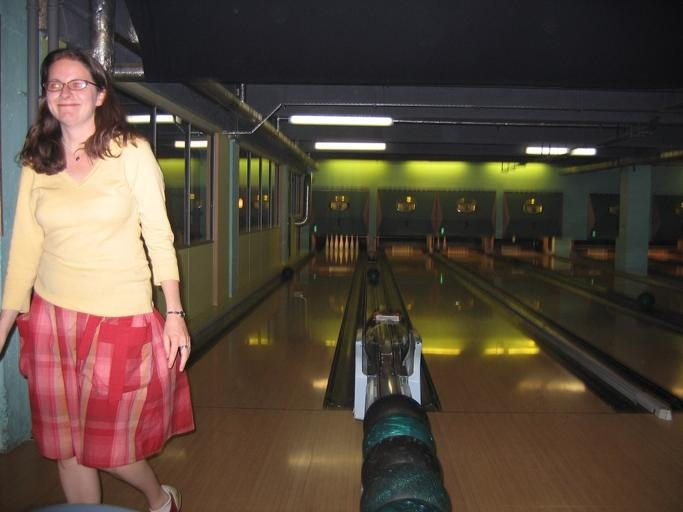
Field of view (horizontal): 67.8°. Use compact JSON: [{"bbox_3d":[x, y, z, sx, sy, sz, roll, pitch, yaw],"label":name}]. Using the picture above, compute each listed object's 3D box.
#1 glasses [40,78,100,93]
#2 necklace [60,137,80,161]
[{"bbox_3d":[-0.882,-0.546,1.641,0.167,0.049,0.041,2,9,-6],"label":"glasses"},{"bbox_3d":[-0.886,-0.347,1.662,0.056,0.090,0.026,-4,-2,12],"label":"necklace"}]
